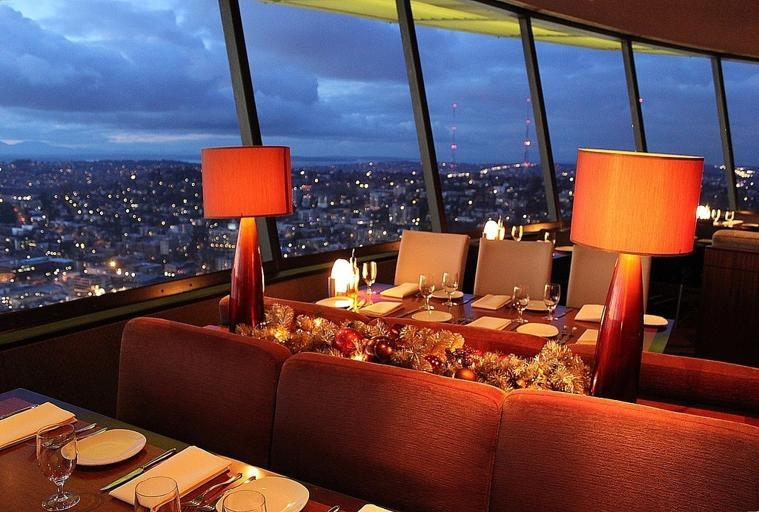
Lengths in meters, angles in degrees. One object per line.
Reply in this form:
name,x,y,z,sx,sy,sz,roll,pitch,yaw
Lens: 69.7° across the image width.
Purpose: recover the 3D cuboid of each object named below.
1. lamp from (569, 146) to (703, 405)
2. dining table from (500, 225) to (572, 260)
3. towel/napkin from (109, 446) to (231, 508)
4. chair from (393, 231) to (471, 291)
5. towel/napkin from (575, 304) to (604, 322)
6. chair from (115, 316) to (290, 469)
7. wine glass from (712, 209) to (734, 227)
lamp,0.974,0.079,2.067,0.473,0.999,0.399,0,7,21
dining table,1.657,-0.203,5.758,0.866,0.435,0.562,7,4,15
towel/napkin,-0.702,0.718,1.862,0.175,0.038,0.245,13,17,31
chair,0.480,0.094,4.628,0.559,0.735,0.629,7,16,11
towel/napkin,1.234,0.338,3.196,0.120,0.021,0.165,6,14,25
chair,-0.676,0.563,2.554,0.623,0.599,0.626,10,-4,24
wine glass,4.477,-0.486,7.094,0.267,0.120,0.378,13,28,39
